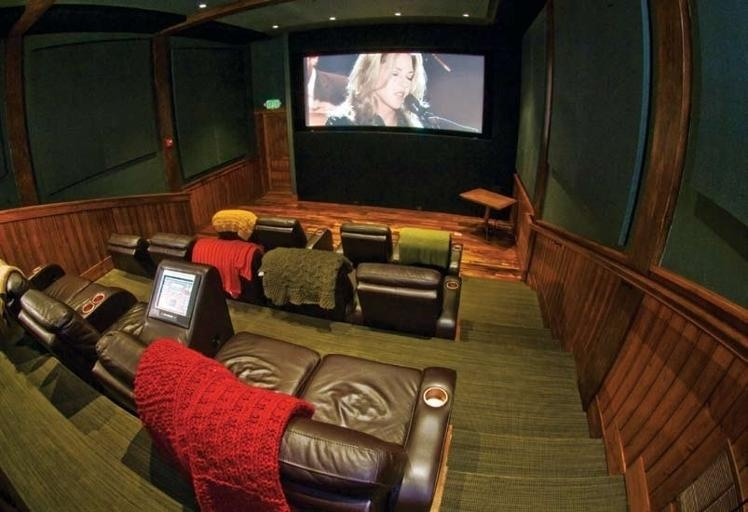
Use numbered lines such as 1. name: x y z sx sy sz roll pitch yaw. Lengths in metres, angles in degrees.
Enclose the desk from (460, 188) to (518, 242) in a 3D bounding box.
1. desk: 1.802 -0.636 7.262 0.616 0.427 0.533 31 -39 39
